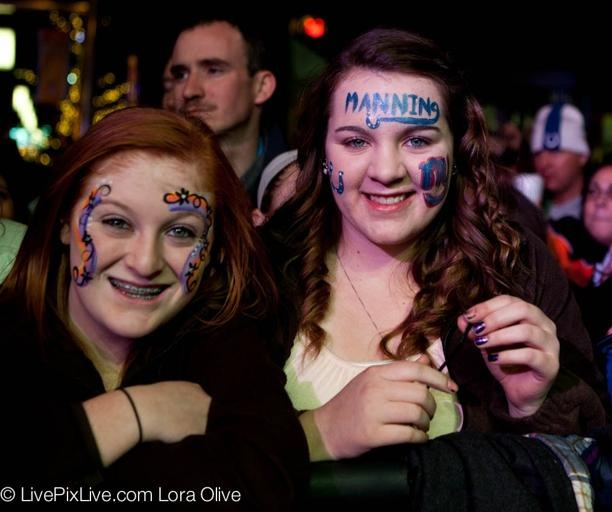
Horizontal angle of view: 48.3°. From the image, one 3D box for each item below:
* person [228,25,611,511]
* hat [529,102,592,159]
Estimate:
[{"bbox_3d":[0.471,0.048,2.947,1.208,1.833,0.620,-4,-12,6],"label":"person"},{"bbox_3d":[2.029,-1.030,5.515,0.388,0.360,0.445,2,0,32],"label":"hat"}]
